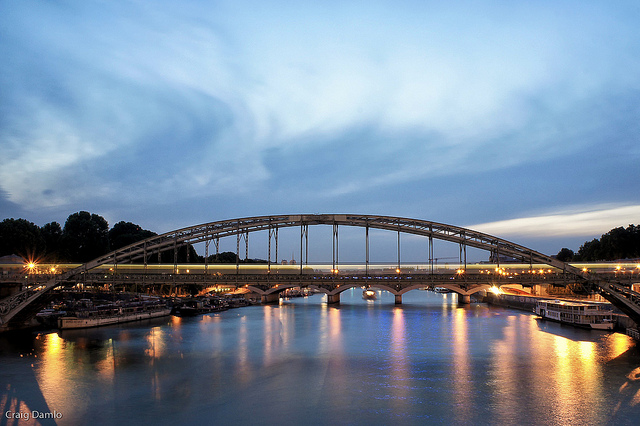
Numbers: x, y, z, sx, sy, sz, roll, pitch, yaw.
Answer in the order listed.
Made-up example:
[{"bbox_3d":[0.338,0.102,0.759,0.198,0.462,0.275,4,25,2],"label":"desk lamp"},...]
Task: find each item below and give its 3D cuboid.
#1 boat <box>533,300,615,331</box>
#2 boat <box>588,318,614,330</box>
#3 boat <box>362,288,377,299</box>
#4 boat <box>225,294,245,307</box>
[{"bbox_3d":[48.478,19.673,98.466,4.358,3.213,16.460,0,-4,-9],"label":"boat"},{"bbox_3d":[50.349,20.187,90.637,4.790,1.625,1.477,-2,-7,-1],"label":"boat"},{"bbox_3d":[17.013,28.546,175.595,5.337,1.952,5.199,0,-4,4],"label":"boat"},{"bbox_3d":[-22.871,24.487,138.930,4.076,2.668,9.294,0,1,4],"label":"boat"}]
